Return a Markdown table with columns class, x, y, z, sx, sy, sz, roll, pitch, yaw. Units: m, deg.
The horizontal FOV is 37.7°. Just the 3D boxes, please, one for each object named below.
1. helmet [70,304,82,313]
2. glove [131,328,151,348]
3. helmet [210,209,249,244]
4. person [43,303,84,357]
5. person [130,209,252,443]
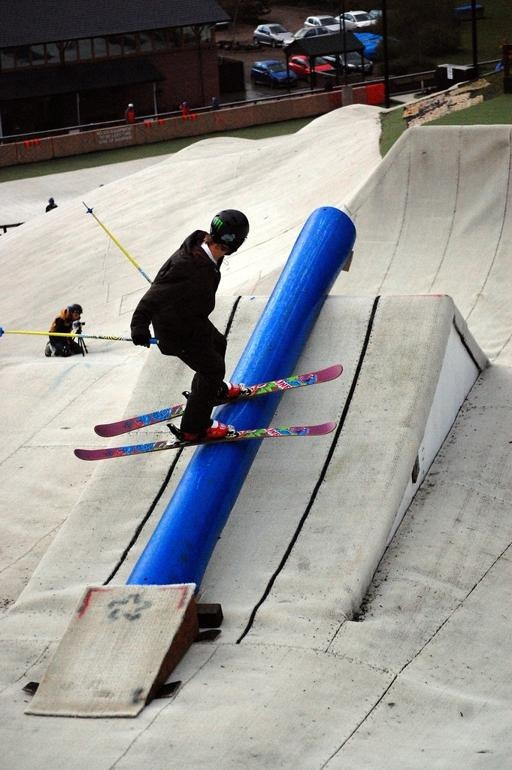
| class | x | y | z | sx | sy | sz | roll | pitch | yaw |
| --- | --- | --- | --- | --- | --- | --- | --- | --- | --- |
| helmet | -2.352 | -1.014 | 9.848 | 0.159 | 0.123 | 0.107 | 3 | 45 | -22 |
| glove | -0.649 | -0.273 | 4.254 | 0.092 | 0.113 | 0.036 | 1 | 59 | -3 |
| helmet | -0.164 | -0.972 | 4.605 | 0.233 | 0.209 | 0.234 | -2 | 12 | -4 |
| person | -2.673 | -0.737 | 10.440 | 0.720 | 0.527 | 0.947 | -3 | -17 | -10 |
| person | -0.435 | -0.322 | 4.564 | 0.878 | 1.455 | 0.326 | -13 | 18 | -43 |
